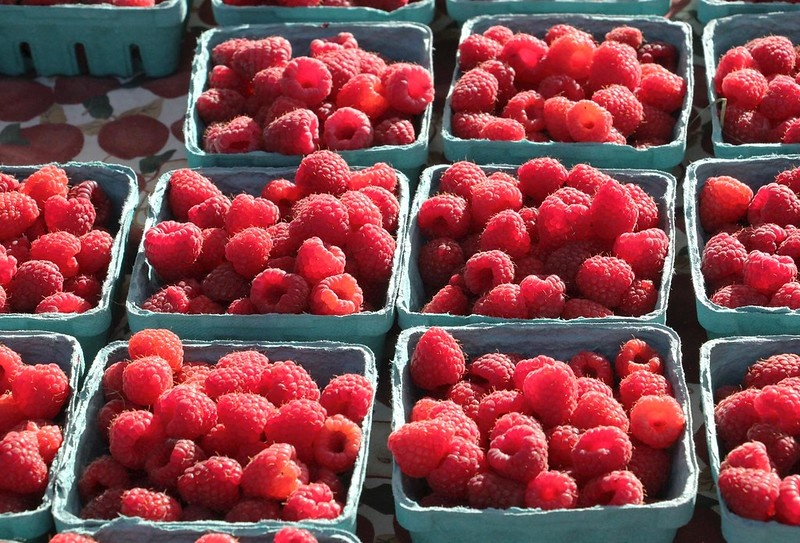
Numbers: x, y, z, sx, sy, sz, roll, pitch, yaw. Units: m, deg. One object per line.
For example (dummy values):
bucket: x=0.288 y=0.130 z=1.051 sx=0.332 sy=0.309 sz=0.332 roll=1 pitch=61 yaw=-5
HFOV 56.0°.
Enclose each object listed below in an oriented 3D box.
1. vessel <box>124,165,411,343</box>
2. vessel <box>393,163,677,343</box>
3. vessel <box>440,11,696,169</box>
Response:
vessel: x=-0.463 y=-0.059 z=2.771 sx=0.981 sy=0.479 sz=0.666 roll=0 pitch=24 yaw=-1
vessel: x=0.471 y=-0.040 z=2.701 sx=0.826 sy=0.310 sz=0.655 roll=3 pitch=61 yaw=3
vessel: x=0.747 y=-0.805 z=3.273 sx=1.042 sy=0.514 sz=0.923 roll=6 pitch=25 yaw=11
